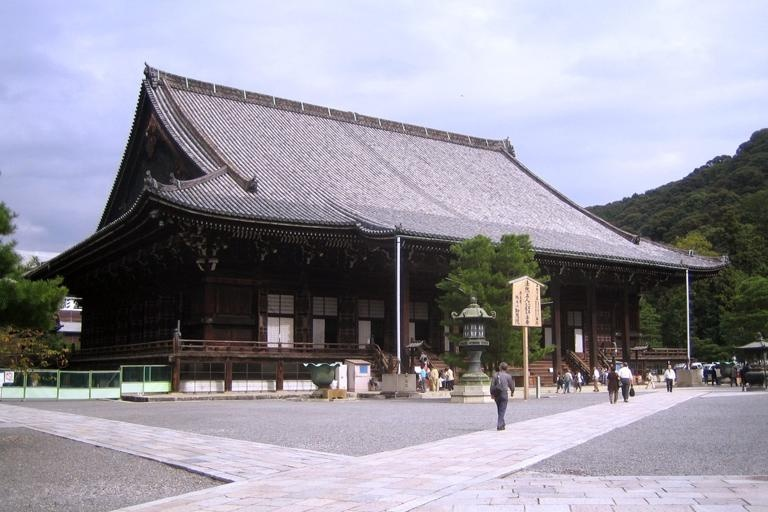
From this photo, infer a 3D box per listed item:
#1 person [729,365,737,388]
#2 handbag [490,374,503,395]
[{"bbox_3d":[21.694,7.391,46.692,0.488,1.266,2.910,-7,-13,24],"label":"person"},{"bbox_3d":[2.965,3.394,19.838,0.223,0.645,0.396,4,-13,-29],"label":"handbag"}]
